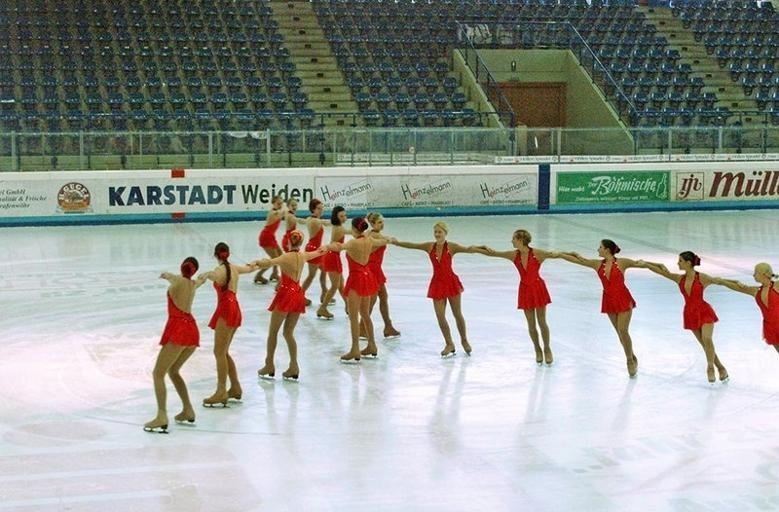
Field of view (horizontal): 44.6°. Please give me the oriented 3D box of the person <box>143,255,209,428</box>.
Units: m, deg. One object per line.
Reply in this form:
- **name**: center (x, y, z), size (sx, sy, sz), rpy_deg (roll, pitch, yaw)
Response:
- **person**: center (-3.261, 1.415, 14.529), size (0.885, 2.691, 0.519), rpy_deg (-3, 8, -14)
